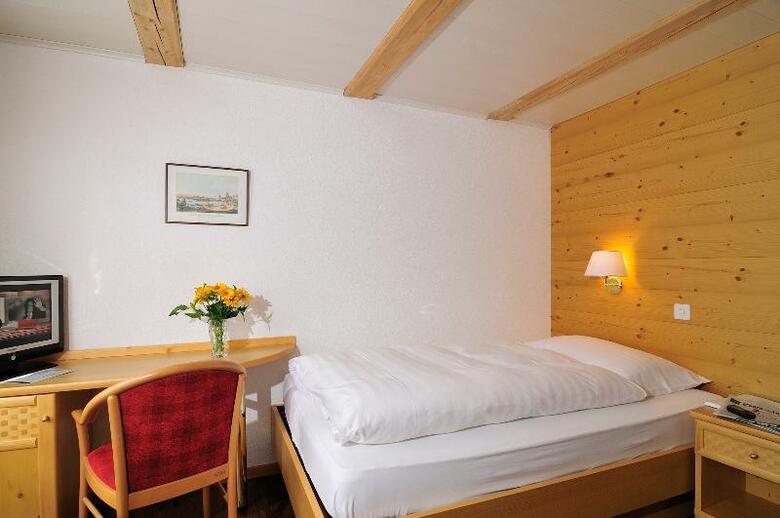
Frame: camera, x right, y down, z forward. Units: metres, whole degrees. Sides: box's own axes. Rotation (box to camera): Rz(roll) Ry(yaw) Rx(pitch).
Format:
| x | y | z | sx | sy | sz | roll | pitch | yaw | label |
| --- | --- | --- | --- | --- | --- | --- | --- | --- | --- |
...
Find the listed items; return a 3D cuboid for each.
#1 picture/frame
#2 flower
| x | y | z | sx | sy | sz | roll | pitch | yaw | label |
| --- | --- | --- | --- | --- | --- | --- | --- | --- | --- |
| -1.517 | -0.537 | 3.923 | 0.559 | 0.384 | 0.020 | 2 | -5 | -20 | picture/frame |
| -1.352 | 0.460 | 3.751 | 0.558 | 0.485 | 0.489 | -1 | -13 | -13 | flower |
